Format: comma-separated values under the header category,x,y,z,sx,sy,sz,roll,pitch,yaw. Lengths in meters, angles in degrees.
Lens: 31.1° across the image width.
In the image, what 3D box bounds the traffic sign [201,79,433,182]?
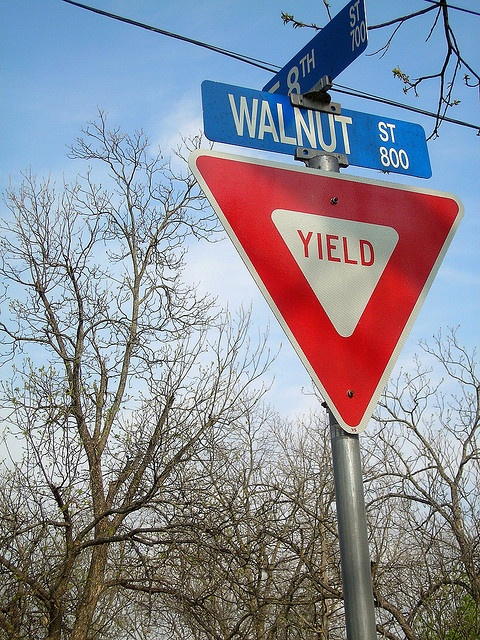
category,x,y,z,sx,sy,sz,roll,pitch,yaw
traffic sign,0.206,-0.642,2.994,1.011,0.422,0.050,9,-44,-20
